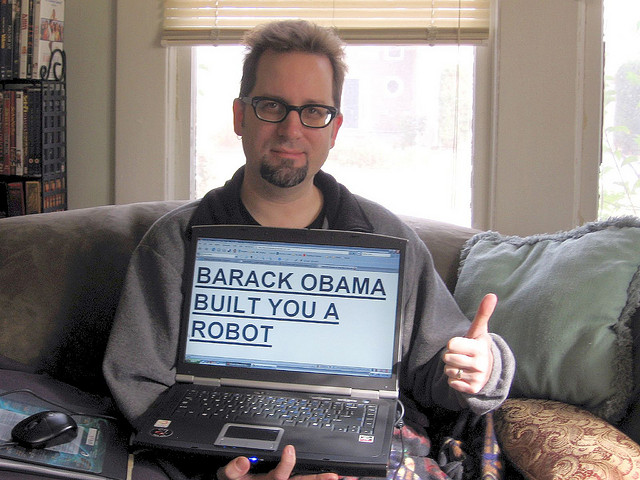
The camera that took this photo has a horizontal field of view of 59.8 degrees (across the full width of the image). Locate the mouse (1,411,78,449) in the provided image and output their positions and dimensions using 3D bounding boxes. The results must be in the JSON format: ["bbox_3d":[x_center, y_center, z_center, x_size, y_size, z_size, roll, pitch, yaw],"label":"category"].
[{"bbox_3d":[-0.555,0.384,1.105,0.140,0.066,0.055,-7,13,-32],"label":"mouse"}]

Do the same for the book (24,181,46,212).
[{"bbox_3d":[-1.093,-0.163,2.105,0.012,0.122,0.069,6,7,38],"label":"book"}]

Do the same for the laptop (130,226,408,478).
[{"bbox_3d":[-0.073,0.213,1.174,0.580,0.365,0.512,5,30,2],"label":"laptop"}]

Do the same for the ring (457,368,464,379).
[{"bbox_3d":[0.282,0.266,1.114,0.013,0.023,0.005,1,12,5],"label":"ring"}]
